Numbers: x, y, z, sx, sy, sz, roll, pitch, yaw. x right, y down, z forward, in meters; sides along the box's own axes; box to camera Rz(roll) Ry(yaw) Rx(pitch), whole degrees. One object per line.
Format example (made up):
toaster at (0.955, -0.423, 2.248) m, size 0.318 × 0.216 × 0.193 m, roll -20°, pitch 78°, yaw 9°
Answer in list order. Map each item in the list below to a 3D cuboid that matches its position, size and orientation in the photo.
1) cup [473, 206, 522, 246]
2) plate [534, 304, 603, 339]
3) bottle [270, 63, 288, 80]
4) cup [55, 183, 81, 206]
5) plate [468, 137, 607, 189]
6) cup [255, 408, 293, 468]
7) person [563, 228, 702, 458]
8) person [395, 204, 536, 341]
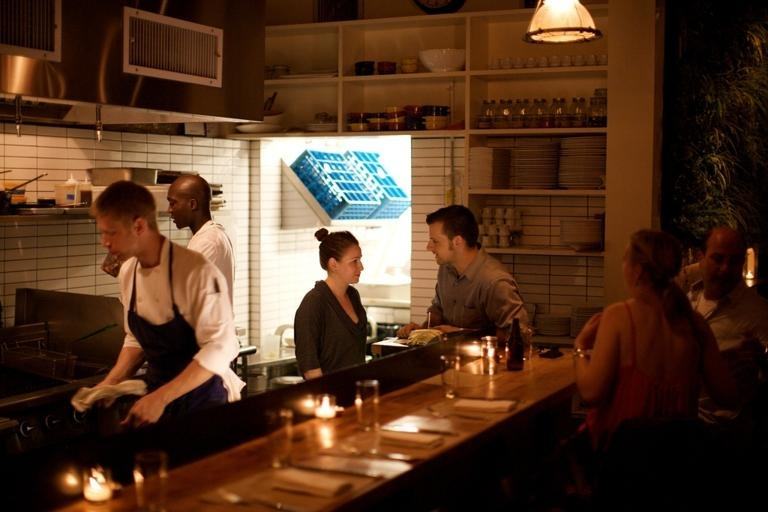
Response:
cup at (0.992, -0.242, 5.637) m, size 0.361 × 0.320 × 0.348 m, roll 1°, pitch -3°, yaw 0°
plate at (1.529, 0.559, 5.448) m, size 0.581 × 0.192 × 0.412 m, roll -1°, pitch 0°, yaw 15°
bottle at (-1.000, -1.773, 6.319) m, size 0.152 × 0.141 × 0.147 m, roll 2°, pitch 0°, yaw 16°
cup at (-2.215, -0.421, 4.642) m, size 0.164 × 0.149 × 0.162 m, roll -5°, pitch -5°, yaw 0°
plate at (1.313, -0.794, 5.583) m, size 1.112 × 0.503 × 0.478 m, roll 0°, pitch 4°, yaw 15°
cup at (-0.414, 0.746, 2.701) m, size 0.170 × 0.251 × 0.166 m, roll -1°, pitch 4°, yaw 0°
person at (1.151, 0.398, 2.920) m, size 0.522 × 1.016 × 0.263 m, roll 0°, pitch 4°, yaw 25°
person at (0.652, 0.172, 4.700) m, size 0.885 × 1.115 × 1.099 m, roll -2°, pitch 8°, yaw -6°
